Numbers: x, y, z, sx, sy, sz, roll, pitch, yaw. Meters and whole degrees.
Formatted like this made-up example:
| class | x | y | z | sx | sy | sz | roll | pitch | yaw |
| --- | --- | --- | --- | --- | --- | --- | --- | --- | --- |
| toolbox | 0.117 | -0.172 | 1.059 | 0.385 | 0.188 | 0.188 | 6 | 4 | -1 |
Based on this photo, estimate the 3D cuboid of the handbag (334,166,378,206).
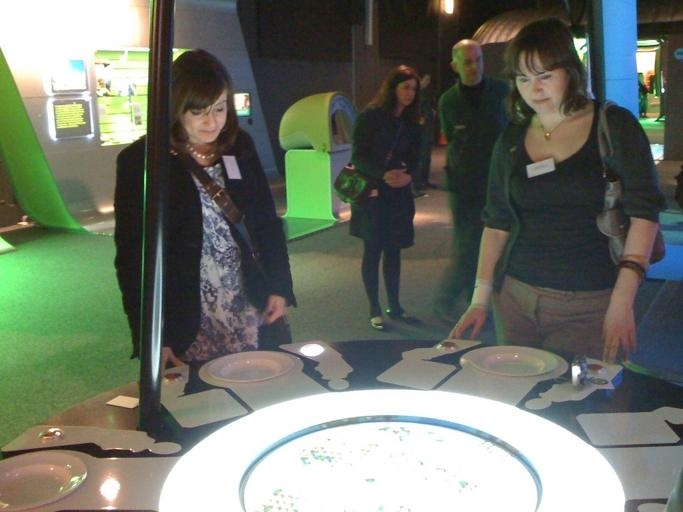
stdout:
| class | x | y | z | sx | sy | sz | roll | pitch | yaw |
| --- | --- | --- | --- | --- | --- | --- | --- | --- | --- |
| handbag | 0.075 | -0.430 | 3.516 | 0.104 | 0.210 | 0.278 | 13 | -40 | -44 |

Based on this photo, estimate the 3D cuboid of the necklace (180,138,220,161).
| class | x | y | z | sx | sy | sz | roll | pitch | yaw |
| --- | --- | --- | --- | --- | --- | --- | --- | --- | --- |
| necklace | -0.492 | -0.366 | 1.924 | 0.081 | 0.020 | 0.062 | 24 | 38 | -12 |

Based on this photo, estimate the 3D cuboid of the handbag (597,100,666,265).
| class | x | y | z | sx | sy | sz | roll | pitch | yaw |
| --- | --- | --- | --- | --- | --- | --- | --- | --- | --- |
| handbag | 0.831 | -0.225 | 1.697 | 0.087 | 0.487 | 0.171 | 0 | 14 | 11 |

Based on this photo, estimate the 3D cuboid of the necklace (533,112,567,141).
| class | x | y | z | sx | sy | sz | roll | pitch | yaw |
| --- | --- | --- | --- | --- | --- | --- | --- | --- | --- |
| necklace | 0.677 | -0.422 | 1.792 | 0.104 | 0.097 | 0.042 | 4 | 14 | 42 |

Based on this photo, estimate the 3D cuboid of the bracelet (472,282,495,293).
| class | x | y | z | sx | sy | sz | roll | pitch | yaw |
| --- | --- | --- | --- | --- | --- | --- | --- | --- | --- |
| bracelet | 0.500 | 0.108 | 1.934 | 0.038 | 0.025 | 0.037 | -3 | 8 | -13 |

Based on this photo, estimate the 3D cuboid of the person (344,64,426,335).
| class | x | y | z | sx | sy | sz | roll | pitch | yaw |
| --- | --- | --- | --- | --- | --- | --- | --- | --- | --- |
| person | 0.256 | -0.339 | 3.611 | 0.558 | 1.697 | 0.322 | -2 | 14 | 6 |

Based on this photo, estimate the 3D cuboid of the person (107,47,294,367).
| class | x | y | z | sx | sy | sz | roll | pitch | yaw |
| --- | --- | --- | --- | --- | --- | --- | --- | --- | --- |
| person | -0.437 | -0.142 | 1.833 | 0.616 | 1.061 | 0.531 | -10 | 16 | -26 |

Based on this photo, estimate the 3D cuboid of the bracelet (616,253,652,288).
| class | x | y | z | sx | sy | sz | roll | pitch | yaw |
| --- | --- | --- | --- | --- | --- | --- | --- | --- | --- |
| bracelet | 0.861 | 0.047 | 1.627 | 0.080 | 0.077 | 0.032 | 22 | 51 | 35 |
